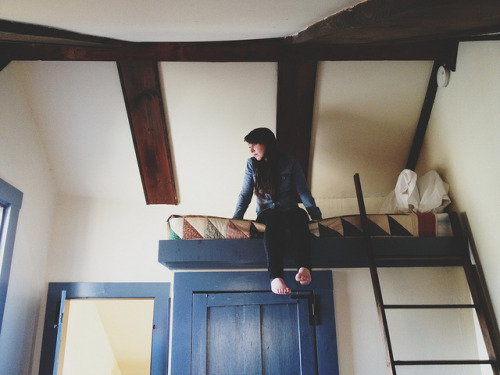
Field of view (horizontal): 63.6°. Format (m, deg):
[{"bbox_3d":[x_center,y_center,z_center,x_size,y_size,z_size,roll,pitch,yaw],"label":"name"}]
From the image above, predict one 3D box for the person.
[{"bbox_3d":[0.215,0.137,3.493,0.768,1.547,0.844,-10,-15,3],"label":"person"}]
